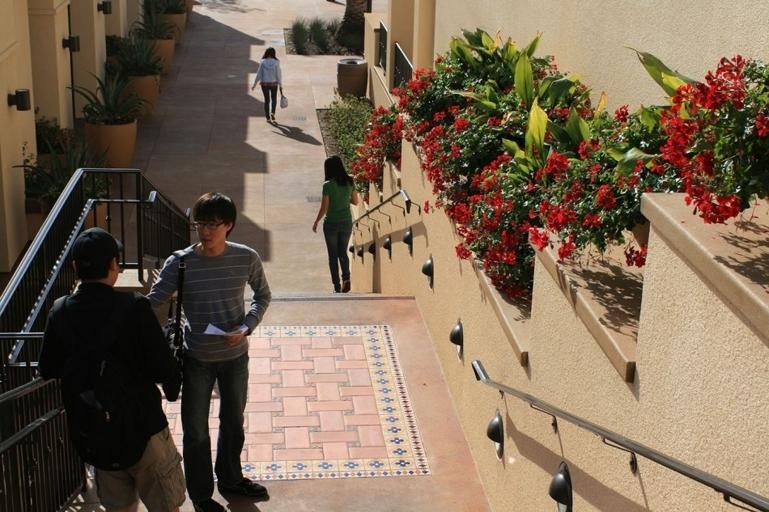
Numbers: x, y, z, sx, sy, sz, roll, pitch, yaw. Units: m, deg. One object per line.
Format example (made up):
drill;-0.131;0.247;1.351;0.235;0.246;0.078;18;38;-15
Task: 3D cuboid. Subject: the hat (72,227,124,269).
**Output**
hat;-1.623;-0.042;3.663;0.183;0.163;0.263;-1;41;3

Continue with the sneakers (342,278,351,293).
sneakers;-0.641;0.497;10.801;0.082;0.259;0.110;6;51;-3

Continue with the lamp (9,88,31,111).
lamp;-5.728;-2.470;10.236;0.385;0.369;0.258;-1;7;-6

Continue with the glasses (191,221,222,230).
glasses;-1.141;-0.200;4.174;0.165;0.049;0.075;1;3;4

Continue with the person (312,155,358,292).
person;-0.761;-0.486;10.271;0.646;2.212;1.519;1;3;-3

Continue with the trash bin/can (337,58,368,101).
trash bin/can;-1.045;-5.514;19.738;1.114;1.193;1.132;14;29;26

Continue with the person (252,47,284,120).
person;-3.312;-4.834;18.466;0.729;2.071;1.111;1;3;-9

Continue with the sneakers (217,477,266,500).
sneakers;-1.023;1.719;4.770;0.388;0.164;0.149;8;13;-10
